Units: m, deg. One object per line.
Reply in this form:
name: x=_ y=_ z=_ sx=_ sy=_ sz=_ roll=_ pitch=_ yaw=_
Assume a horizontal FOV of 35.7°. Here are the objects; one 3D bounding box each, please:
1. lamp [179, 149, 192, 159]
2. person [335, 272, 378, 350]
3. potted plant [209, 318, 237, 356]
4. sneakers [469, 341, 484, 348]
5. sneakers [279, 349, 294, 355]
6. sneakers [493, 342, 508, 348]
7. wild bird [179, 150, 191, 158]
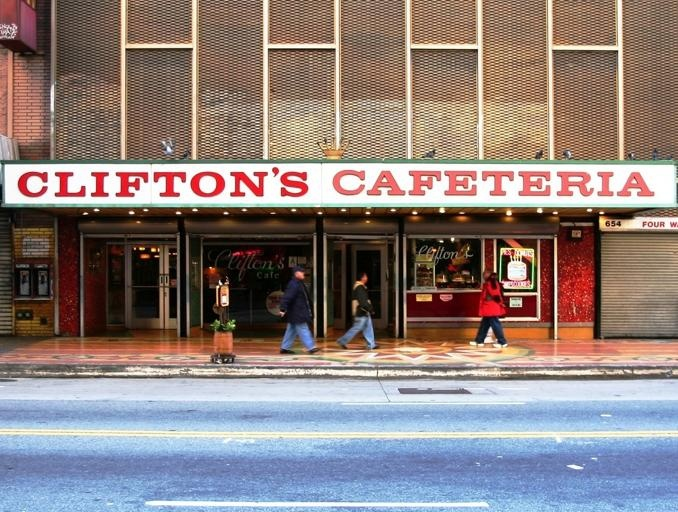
lamp: x=-4.067 y=-2.732 z=28.177 sx=0.526 sy=0.102 sz=0.435 roll=1 pitch=-25 yaw=-10
person: x=0.462 y=1.388 z=26.795 sx=0.984 sy=1.920 sz=1.132 roll=-1 pitch=-2 yaw=-1
potted plant: x=-2.534 y=1.890 z=24.503 sx=0.791 sy=0.754 sz=0.687 roll=1 pitch=-7 yaw=-4
sneakers: x=3.576 y=2.295 z=27.580 sx=0.375 sy=0.113 sz=0.120 roll=1 pitch=1 yaw=18
sneakers: x=-1.284 y=2.324 z=25.736 sx=0.383 sy=0.120 sz=0.121 roll=2 pitch=-3 yaw=-10
sneakers: x=4.107 y=2.288 z=27.060 sx=0.414 sy=0.132 sz=0.131 roll=1 pitch=0 yaw=12
wild bird: x=-4.043 y=-2.719 z=28.000 sx=0.437 sy=0.081 sz=0.371 roll=2 pitch=-22 yaw=-9
